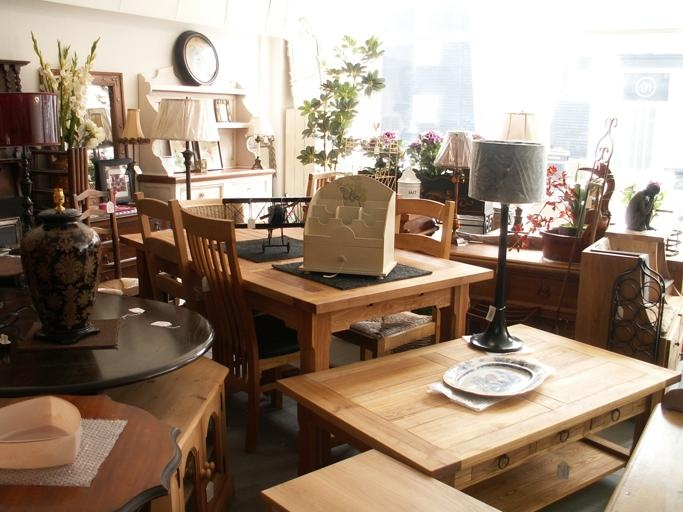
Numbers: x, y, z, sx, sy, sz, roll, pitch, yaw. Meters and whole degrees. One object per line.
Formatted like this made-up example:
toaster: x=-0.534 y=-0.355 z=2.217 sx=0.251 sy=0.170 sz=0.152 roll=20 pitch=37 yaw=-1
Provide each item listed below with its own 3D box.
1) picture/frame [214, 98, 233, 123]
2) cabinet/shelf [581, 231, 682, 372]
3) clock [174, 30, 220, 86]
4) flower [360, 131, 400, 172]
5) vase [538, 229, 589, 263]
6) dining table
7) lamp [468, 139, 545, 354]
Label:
picture/frame: x=-1.368 y=-1.676 z=5.702 sx=0.080 sy=0.248 sz=0.266 roll=-1 pitch=2 yaw=36
cabinet/shelf: x=1.567 y=0.253 z=2.699 sx=0.467 sy=0.741 sz=0.840 roll=5 pitch=9 yaw=30
clock: x=-1.543 y=-2.106 z=5.334 sx=0.128 sy=0.499 sz=0.515 roll=-2 pitch=25 yaw=33
flower: x=0.411 y=-1.044 z=5.028 sx=0.423 sy=0.399 sz=0.368 roll=2 pitch=13 yaw=12
vase: x=1.406 y=-0.075 z=3.130 sx=0.232 sy=0.123 sz=0.221 roll=0 pitch=6 yaw=-1
dining table: x=0.438 y=0.189 z=1.791 sx=1.462 sy=0.610 sz=0.777 roll=-11 pitch=17 yaw=-36
lamp: x=0.712 y=-0.039 z=2.190 sx=0.313 sy=0.931 sz=0.244 roll=4 pitch=15 yaw=19
